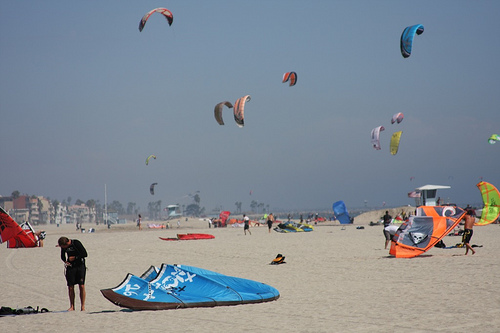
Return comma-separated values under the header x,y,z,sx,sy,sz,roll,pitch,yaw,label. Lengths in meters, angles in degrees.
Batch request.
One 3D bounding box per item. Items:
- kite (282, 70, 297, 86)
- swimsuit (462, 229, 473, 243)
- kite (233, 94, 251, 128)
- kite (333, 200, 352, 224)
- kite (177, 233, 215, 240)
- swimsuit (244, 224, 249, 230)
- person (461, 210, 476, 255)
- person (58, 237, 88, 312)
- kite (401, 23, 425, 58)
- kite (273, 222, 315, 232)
x,y,z,sx,sy,sz,roll,pitch,yaw,label
2.337,-5.036,40.695,0.574,0.824,1.030,-5,-7,21,kite
7.753,2.470,25.104,0.336,0.479,0.458,-6,-8,31,swimsuit
-0.469,-2.841,35.999,0.643,1.646,1.312,-2,-7,0,kite
6.442,3.227,49.553,0.976,1.449,2.006,-4,-7,11,kite
-2.923,3.646,36.474,2.011,0.268,0.604,3,-9,-39,kite
-0.170,3.470,40.226,0.251,0.220,0.355,-1,-7,-13,swimsuit
7.896,2.356,25.306,0.418,1.566,1.175,-4,-7,17,person
-4.889,2.954,19.379,0.727,2.033,0.495,0,-6,-16,person
7.828,-6.142,34.067,0.942,1.391,1.233,-3,-7,10,kite
2.637,3.748,43.290,2.831,0.587,1.107,4,-10,-44,kite
